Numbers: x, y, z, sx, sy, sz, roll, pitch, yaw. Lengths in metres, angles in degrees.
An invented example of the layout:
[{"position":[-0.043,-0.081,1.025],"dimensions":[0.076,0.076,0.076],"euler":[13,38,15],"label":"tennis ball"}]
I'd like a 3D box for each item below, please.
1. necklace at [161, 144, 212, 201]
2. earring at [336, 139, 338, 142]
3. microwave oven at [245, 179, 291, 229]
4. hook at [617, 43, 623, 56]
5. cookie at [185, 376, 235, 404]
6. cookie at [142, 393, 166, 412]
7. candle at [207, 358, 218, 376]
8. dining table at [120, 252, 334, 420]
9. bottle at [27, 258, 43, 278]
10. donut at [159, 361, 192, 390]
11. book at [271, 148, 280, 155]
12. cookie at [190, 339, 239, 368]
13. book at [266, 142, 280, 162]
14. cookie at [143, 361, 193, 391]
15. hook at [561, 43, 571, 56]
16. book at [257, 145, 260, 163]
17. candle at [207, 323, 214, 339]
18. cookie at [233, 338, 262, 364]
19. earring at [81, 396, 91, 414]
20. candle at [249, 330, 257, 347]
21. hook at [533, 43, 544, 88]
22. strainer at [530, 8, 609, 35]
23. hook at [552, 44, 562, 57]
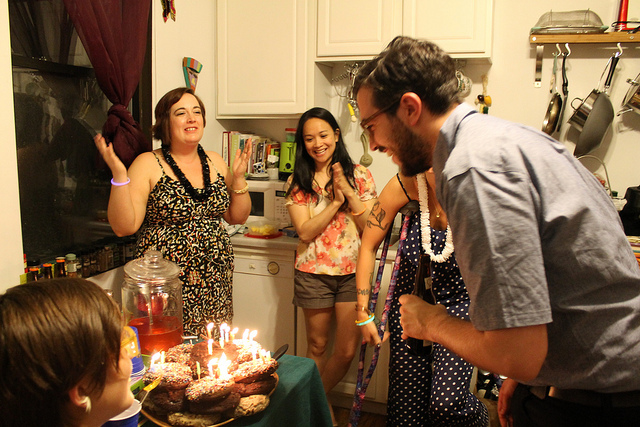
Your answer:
[{"position":[-0.724,-0.226,2.501],"dimensions":[0.219,0.377,0.077],"euler":[-10,-20,-37],"label":"necklace"},{"position":[0.110,-0.468,2.823],"dimensions":[0.004,0.016,0.016],"euler":[3,-5,33],"label":"earring"},{"position":[-0.375,-0.100,3.414],"dimensions":[0.438,0.323,0.185],"euler":[11,20,34],"label":"microwave oven"},{"position":[1.929,-1.053,2.851],"dimensions":[0.036,0.079,0.189],"euler":[9,19,31],"label":"hook"},{"position":[-0.340,0.529,1.420],"dimensions":[0.142,0.052,0.132],"euler":[-1,6,21],"label":"cookie"},{"position":[-0.521,0.564,1.370],"dimensions":[0.047,0.059,0.022],"euler":[-2,-3,16],"label":"cookie"},{"position":[-0.347,0.484,1.427],"dimensions":[0.026,0.034,0.054],"euler":[-2,17,-4],"label":"candle"},{"position":[-0.393,0.465,1.673],"dimensions":[0.647,0.522,0.676],"euler":[1,18,-6],"label":"dining table"},{"position":[-1.402,0.264,2.181],"dimensions":[0.071,0.087,0.074],"euler":[1,7,10],"label":"bottle"},{"position":[-0.457,0.508,1.412],"dimensions":[0.099,0.043,0.087],"euler":[-3,17,-10],"label":"donut"},{"position":[-0.355,-0.491,3.582],"dimensions":[0.040,0.079,0.079],"euler":[1,2,33],"label":"book"},{"position":[-0.356,0.456,1.513],"dimensions":[0.118,0.058,0.117],"euler":[6,9,30],"label":"cookie"},{"position":[-0.375,-0.489,3.544],"dimensions":[0.044,0.141,0.145],"euler":[2,0,21],"label":"book"},{"position":[-0.473,0.492,1.444],"dimensions":[0.132,0.063,0.168],"euler":[0,6,-35],"label":"cookie"},{"position":[1.610,-1.068,2.885],"dimensions":[0.028,0.091,0.066],"euler":[-5,12,15],"label":"hook"},{"position":[-0.486,-0.482,3.536],"dimensions":[0.020,0.093,0.087],"euler":[-1,-5,-7],"label":"book"},{"position":[-0.401,0.428,1.629],"dimensions":[0.020,0.064,0.078],"euler":[-5,17,-15],"label":"candle"},{"position":[-0.267,0.479,1.566],"dimensions":[0.060,0.017,0.063],"euler":[13,22,23],"label":"cookie"},{"position":[-0.565,0.461,1.079],"dimensions":[0.010,0.047,0.023],"euler":[6,17,21],"label":"earring"},{"position":[-0.243,0.447,1.629],"dimensions":[0.010,0.043,0.012],"euler":[21,-13,6],"label":"candle"},{"position":[1.480,-0.993,3.000],"dimensions":[0.058,0.277,0.165],"euler":[7,17,24],"label":"hook"},{"position":[1.602,-1.232,2.864],"dimensions":[0.427,0.163,0.243],"euler":[6,18,21],"label":"strainer"},{"position":[1.587,-1.083,2.956],"dimensions":[0.052,0.080,0.145],"euler":[8,18,26],"label":"hook"}]
